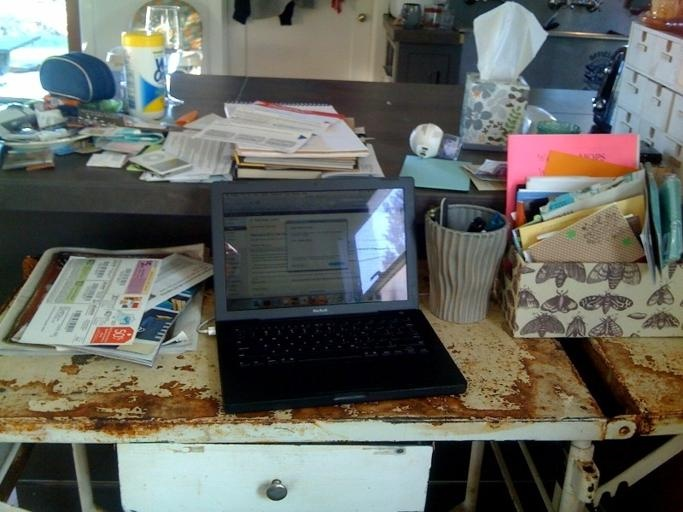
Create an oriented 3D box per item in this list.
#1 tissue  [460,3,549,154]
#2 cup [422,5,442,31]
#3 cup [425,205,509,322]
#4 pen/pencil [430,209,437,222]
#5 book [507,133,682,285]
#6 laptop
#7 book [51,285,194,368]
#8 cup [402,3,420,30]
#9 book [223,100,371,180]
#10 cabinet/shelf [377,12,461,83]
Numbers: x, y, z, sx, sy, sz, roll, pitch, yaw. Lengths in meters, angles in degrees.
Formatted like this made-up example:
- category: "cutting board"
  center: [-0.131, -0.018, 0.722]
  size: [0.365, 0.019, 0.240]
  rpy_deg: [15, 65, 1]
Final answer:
- category: "tissue "
  center: [0.360, -0.403, 1.277]
  size: [0.171, 0.319, 0.257]
  rpy_deg: [10, 27, 14]
- category: "cup"
  center: [0.551, -1.466, 3.485]
  size: [0.168, 0.154, 0.144]
  rpy_deg: [2, 33, -1]
- category: "cup"
  center: [0.239, 0.029, 1.055]
  size: [0.158, 0.164, 0.143]
  rpy_deg: [5, 6, -1]
- category: "pen/pencil"
  center: [0.172, -0.074, 1.034]
  size: [0.019, 0.019, 0.009]
  rpy_deg: [-1, -4, 10]
- category: "book"
  center: [0.484, -0.121, 1.120]
  size: [0.277, 0.058, 0.256]
  rpy_deg: [2, 38, 4]
- category: "laptop"
  center: [-0.007, 0.057, 0.935]
  size: [0.439, 0.212, 0.354]
  rpy_deg: [-5, 36, -24]
- category: "book"
  center: [-0.370, 0.104, 0.961]
  size: [0.166, 0.155, 0.016]
  rpy_deg: [16, 20, -28]
- category: "cup"
  center: [0.413, -1.395, 3.283]
  size: [0.159, 0.138, 0.136]
  rpy_deg: [0, 34, -2]
- category: "book"
  center: [-0.092, -0.212, 1.114]
  size: [0.265, 0.060, 0.219]
  rpy_deg: [-1, 35, -8]
- category: "cabinet/shelf"
  center: [0.501, -1.306, 3.642]
  size: [0.423, 0.429, 0.672]
  rpy_deg: [0, 36, -2]
